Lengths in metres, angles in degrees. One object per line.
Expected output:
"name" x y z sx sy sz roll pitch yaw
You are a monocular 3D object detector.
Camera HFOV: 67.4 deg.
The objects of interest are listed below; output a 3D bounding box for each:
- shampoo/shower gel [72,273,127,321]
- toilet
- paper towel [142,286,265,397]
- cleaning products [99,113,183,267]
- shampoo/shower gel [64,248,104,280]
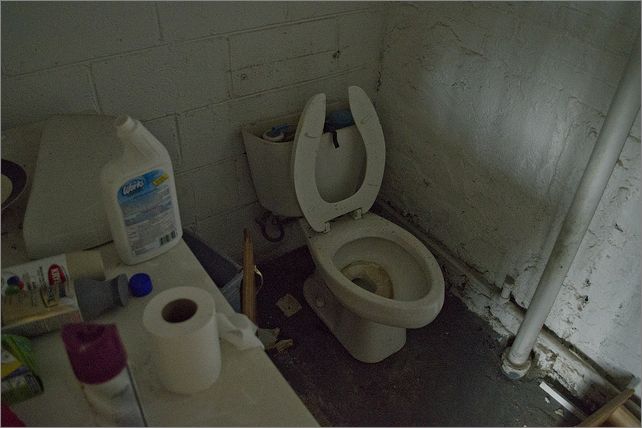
"shampoo/shower gel" -0.573 0.196 1.252 0.113 0.132 0.080 -2 2 -11
"toilet" 0.259 0.078 2.211 0.761 1.126 0.922 -25 46 -33
"paper towel" -0.283 0.256 1.249 0.311 0.230 0.187 -28 46 -35
"cleaning products" -0.486 -0.041 1.376 0.219 0.410 0.202 -28 57 -32
"shampoo/shower gel" -0.626 0.135 1.278 0.084 0.078 0.064 12 31 -22
